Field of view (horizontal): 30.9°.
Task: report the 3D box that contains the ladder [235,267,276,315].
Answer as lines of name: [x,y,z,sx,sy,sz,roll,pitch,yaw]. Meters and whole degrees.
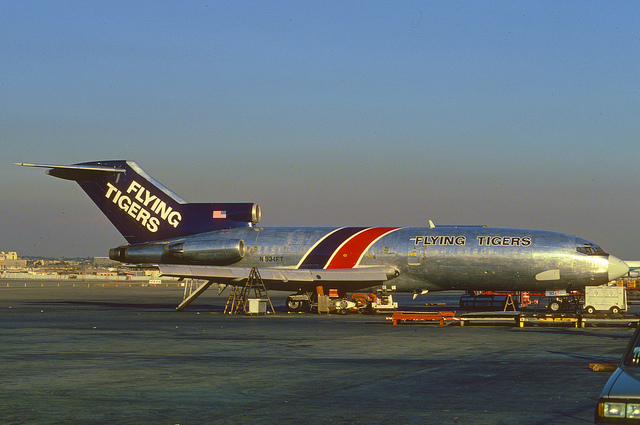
ladder: [-3.592,4.258,64.433,2.432,2.432,2.127,-2,17,-4]

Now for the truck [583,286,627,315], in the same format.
truck: [14.930,4.525,60.090,2.587,1.247,1.547,-1,-8,13]
